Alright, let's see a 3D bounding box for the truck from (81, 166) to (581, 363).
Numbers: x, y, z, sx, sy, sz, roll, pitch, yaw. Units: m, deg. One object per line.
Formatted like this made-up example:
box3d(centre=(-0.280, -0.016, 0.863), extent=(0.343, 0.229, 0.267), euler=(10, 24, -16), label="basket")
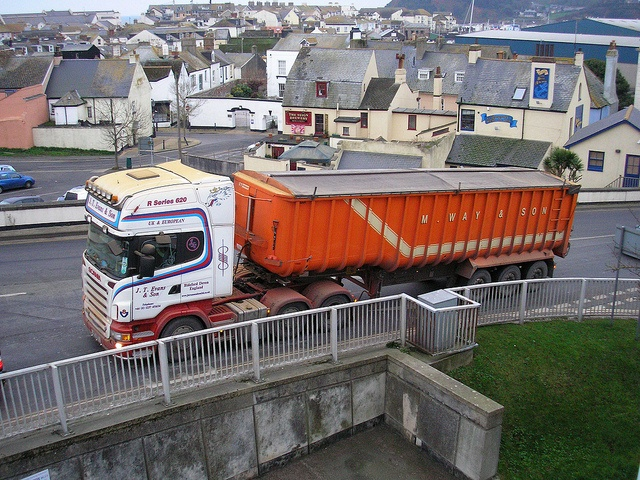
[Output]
box3d(centre=(2.269, 0.128, 18.400), extent=(18.692, 5.591, 5.576), euler=(-6, 21, -27), label="truck")
